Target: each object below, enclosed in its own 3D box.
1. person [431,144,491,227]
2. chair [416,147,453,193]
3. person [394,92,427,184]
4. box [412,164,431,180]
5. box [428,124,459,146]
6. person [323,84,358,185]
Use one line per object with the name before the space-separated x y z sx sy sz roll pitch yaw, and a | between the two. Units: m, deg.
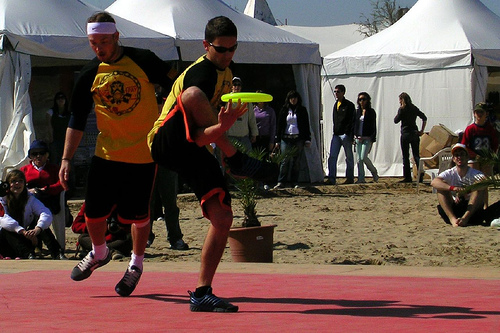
person | 3.226 0.281 11.056 0.804 1.230 0.672 1 3 16
chair | 3.707 0.067 14.423 0.653 0.885 0.626 -14 23 -34
person | 3.650 -0.638 16.356 0.683 2.043 0.556 1 3 12
box | 3.917 0.112 16.430 0.311 0.313 0.562 -4 -10 13
box | 4.401 -0.707 16.304 0.485 0.305 0.475 28 14 -27
person | 2.079 -0.696 16.094 0.742 2.222 0.624 -1 3 -25
